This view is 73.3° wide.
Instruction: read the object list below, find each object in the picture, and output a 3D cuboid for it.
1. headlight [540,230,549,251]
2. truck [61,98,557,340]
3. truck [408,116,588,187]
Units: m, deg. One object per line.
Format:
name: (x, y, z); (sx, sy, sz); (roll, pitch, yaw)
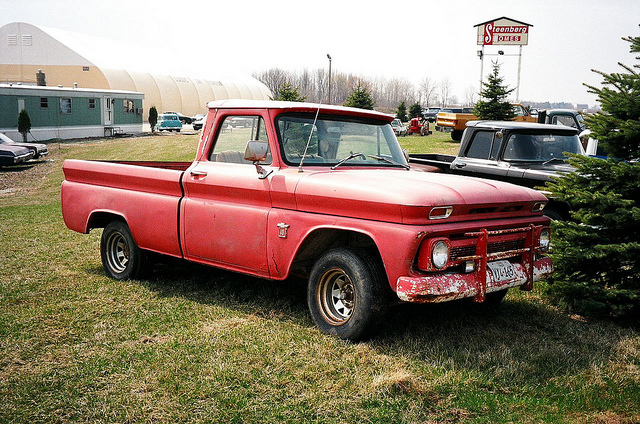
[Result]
headlight: (2.769, 0.336, 5.331); (0.156, 0.217, 0.098); (3, -5, -28)
truck: (-0.234, -0.083, 5.816); (6.002, 2.777, 1.785); (7, 13, 28)
truck: (3.931, -1.444, 9.688); (2.983, 1.292, 1.677); (14, 17, 40)
